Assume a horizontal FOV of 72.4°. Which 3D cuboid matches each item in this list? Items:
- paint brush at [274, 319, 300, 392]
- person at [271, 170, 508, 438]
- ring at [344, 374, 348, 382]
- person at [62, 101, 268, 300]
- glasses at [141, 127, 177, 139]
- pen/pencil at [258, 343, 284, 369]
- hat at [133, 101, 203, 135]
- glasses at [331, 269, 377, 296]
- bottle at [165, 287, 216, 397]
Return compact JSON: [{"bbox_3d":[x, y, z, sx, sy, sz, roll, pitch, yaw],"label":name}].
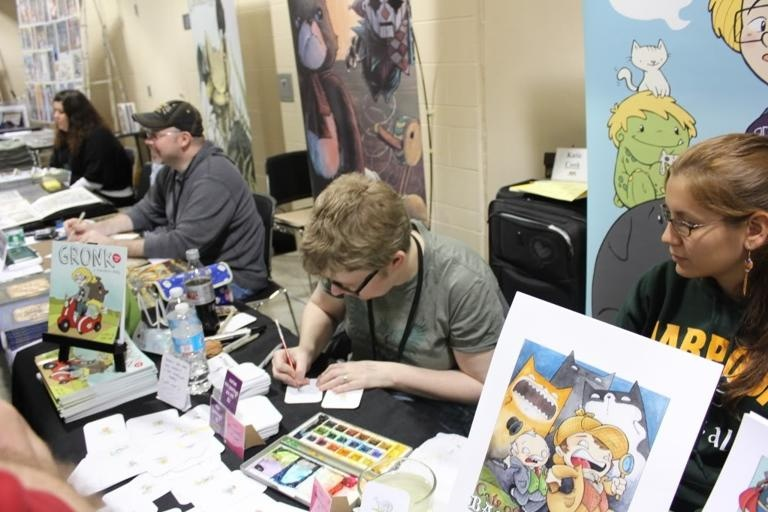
[{"bbox_3d":[-0.342,0.353,1.842,0.035,0.037,0.331,-9,55,-23],"label":"paint brush"},{"bbox_3d":[-0.004,0.114,1.758,0.754,0.783,0.581,5,23,22],"label":"person"},{"bbox_3d":[-0.123,0.390,1.670,0.012,0.019,0.017,-2,22,6],"label":"ring"},{"bbox_3d":[-1.161,-0.318,2.857,0.974,1.015,0.628,6,23,23],"label":"person"},{"bbox_3d":[-1.212,-0.680,2.827,0.227,0.074,0.091,5,23,20],"label":"glasses"},{"bbox_3d":[-0.391,0.345,1.812,0.023,0.098,0.025,39,-6,17],"label":"pen/pencil"},{"bbox_3d":[-1.175,-0.779,2.850,0.320,0.137,0.205,3,18,-31],"label":"hat"},{"bbox_3d":[-0.090,0.075,1.659,0.029,0.101,0.098,34,3,16],"label":"glasses"},{"bbox_3d":[-0.656,0.270,1.741,0.116,0.313,0.317,-14,24,-24],"label":"bottle"}]
